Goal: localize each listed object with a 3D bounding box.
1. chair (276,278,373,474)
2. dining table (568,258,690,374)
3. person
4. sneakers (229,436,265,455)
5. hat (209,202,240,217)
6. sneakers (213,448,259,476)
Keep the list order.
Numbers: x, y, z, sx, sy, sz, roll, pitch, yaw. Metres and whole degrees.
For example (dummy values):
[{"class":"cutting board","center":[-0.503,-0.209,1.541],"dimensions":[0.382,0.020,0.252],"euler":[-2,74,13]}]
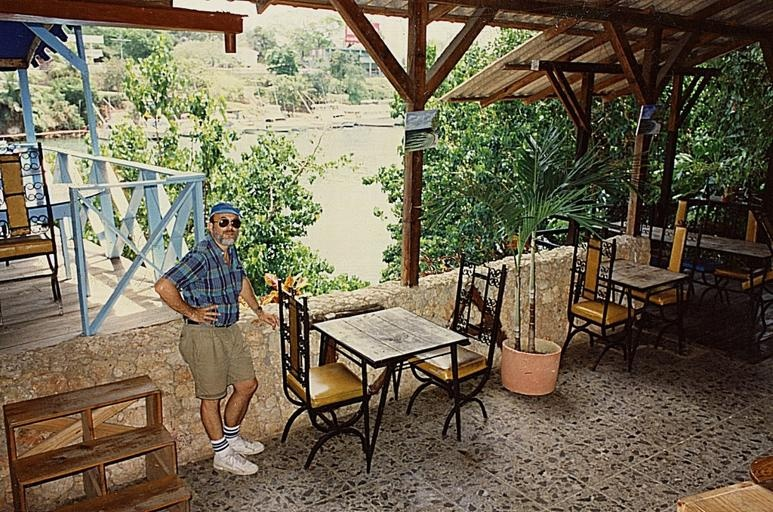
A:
[{"class":"chair","center":[-0.610,1.256,5.230],"dimensions":[0.865,1.865,0.970],"euler":[-15,33,-25]},{"class":"dining table","center":[2.802,0.560,6.901],"dimensions":[0.694,1.506,0.944],"euler":[5,8,-17]},{"class":"person","center":[-1.570,0.771,4.892],"dimensions":[0.716,2.466,0.603],"euler":[0,17,2]},{"class":"sneakers","center":[-1.360,1.805,5.189],"dimensions":[0.379,0.141,0.135],"euler":[6,24,-28]},{"class":"hat","center":[-1.464,-0.418,4.816],"dimensions":[0.260,0.134,0.205],"euler":[-7,17,-21]},{"class":"sneakers","center":[-1.389,1.908,5.051],"dimensions":[0.471,0.208,0.187],"euler":[10,23,1]}]
